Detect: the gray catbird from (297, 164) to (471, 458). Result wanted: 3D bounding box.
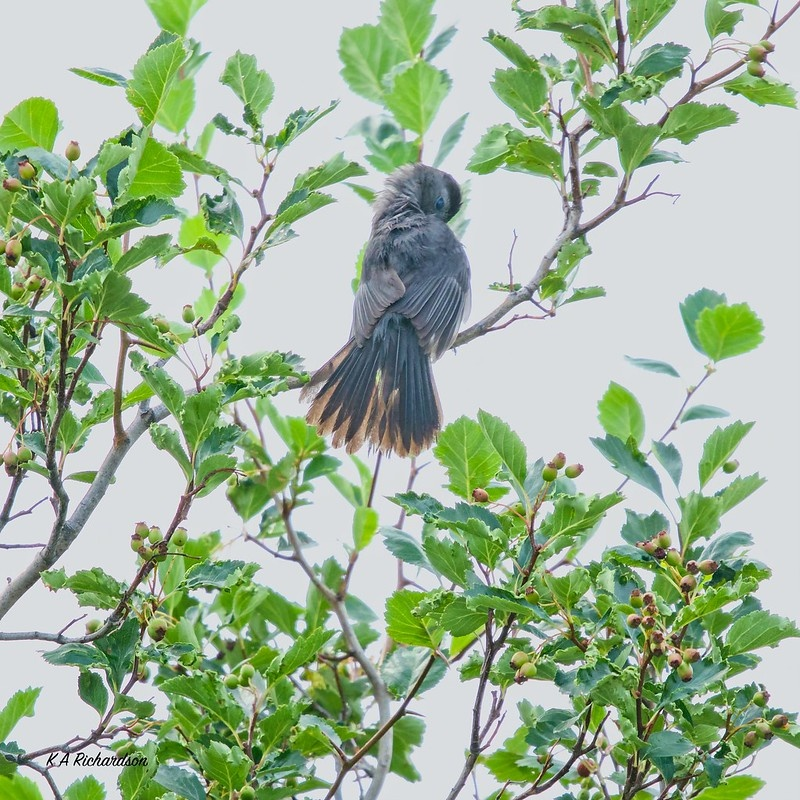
[{"bbox_3d":[0.023,-0.400,7.258,0.464,1.544,0.640,-2,-40,22],"label":"gray catbird"}]
